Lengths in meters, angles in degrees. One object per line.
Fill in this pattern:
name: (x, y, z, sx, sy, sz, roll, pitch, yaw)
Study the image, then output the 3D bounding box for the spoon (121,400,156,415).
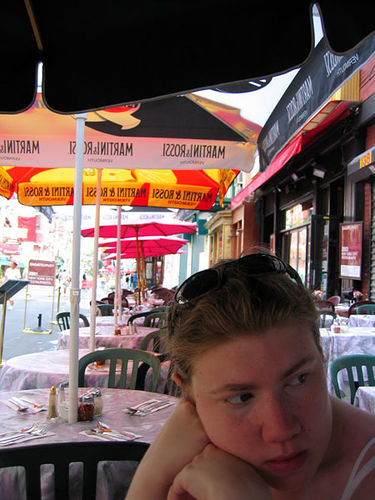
spoon: (-0.235, 0.749, 1.899, 0.044, 0.023, 0.148, -8, 1, 33)

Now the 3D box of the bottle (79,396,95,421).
bottle: (-0.439, 0.683, 1.704, 0.087, 0.091, 0.083, 1, 1, -3)

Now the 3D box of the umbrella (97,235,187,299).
umbrella: (-1.669, 0.536, 14.495, 2.354, 1.528, 2.549, -13, -13, 33)

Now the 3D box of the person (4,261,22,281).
person: (-6.097, 0.659, 13.729, 0.520, 0.638, 2.190, 4, -7, -24)

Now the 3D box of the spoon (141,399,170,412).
spoon: (-0.154, 0.744, 1.919, 0.124, 0.025, 0.036, -27, 27, -4)

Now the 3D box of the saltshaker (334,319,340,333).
saltshaker: (1.833, 0.920, 4.791, 0.036, 0.138, 0.101, -2, -1, 15)

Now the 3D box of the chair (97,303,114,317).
chair: (-1.686, 1.169, 8.084, 0.318, 0.376, 0.280, 3, -20, -10)

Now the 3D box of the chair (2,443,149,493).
chair: (-0.388, 0.755, 1.386, 0.488, 0.182, 0.116, 3, -7, -17)

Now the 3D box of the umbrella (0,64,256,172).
umbrella: (-0.474, -0.989, 3.586, 1.393, 0.585, 1.368, 2, -1, -1)
